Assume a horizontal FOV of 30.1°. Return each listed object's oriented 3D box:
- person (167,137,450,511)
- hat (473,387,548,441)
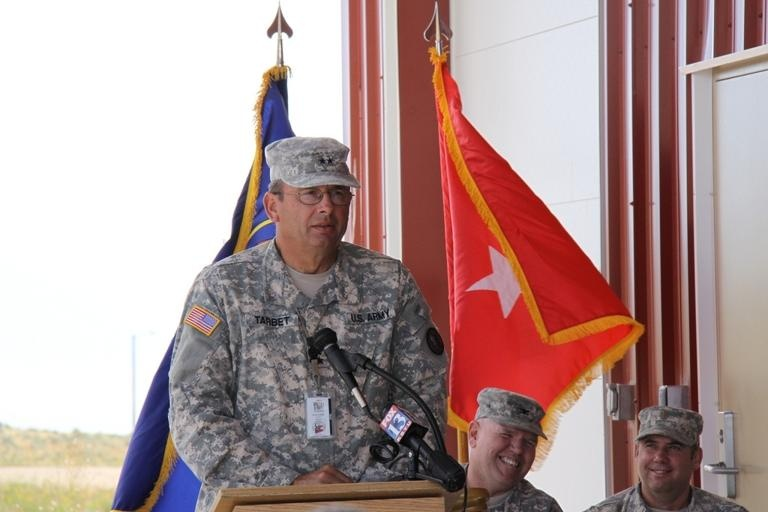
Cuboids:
[{"bbox_3d":[-0.330,0.309,6.274,1.157,1.628,0.502,7,-20,-10],"label":"person"},{"bbox_3d":[0.607,0.749,6.915,0.217,0.091,0.278,25,-5,-33],"label":"hat"}]
